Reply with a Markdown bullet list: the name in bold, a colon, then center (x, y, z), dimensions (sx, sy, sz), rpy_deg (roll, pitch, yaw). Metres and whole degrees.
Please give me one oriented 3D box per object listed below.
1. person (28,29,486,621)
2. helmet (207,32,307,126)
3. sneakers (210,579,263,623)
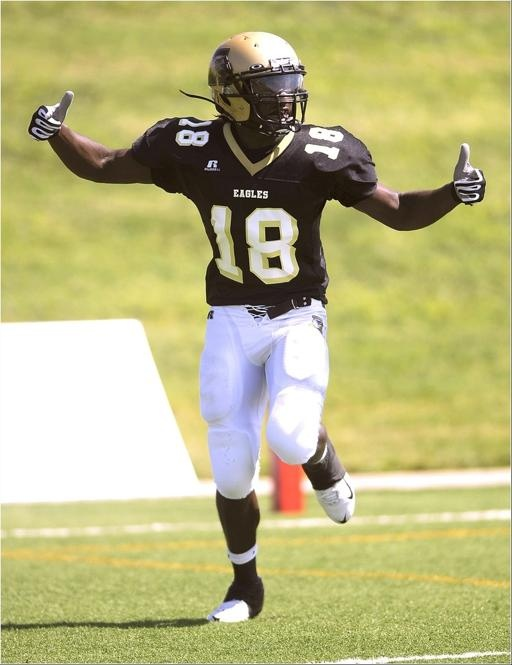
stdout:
- **person**: center (0.004, -0.004, 3.087), dimensions (1.400, 1.962, 0.345), rpy_deg (1, -2, 16)
- **helmet**: center (0.037, -0.842, 3.105), dimensions (0.349, 0.254, 0.366), rpy_deg (-7, 23, -18)
- **sneakers**: center (-0.055, 0.918, 3.154), dimensions (0.092, 0.083, 0.255), rpy_deg (1, -3, 32)
